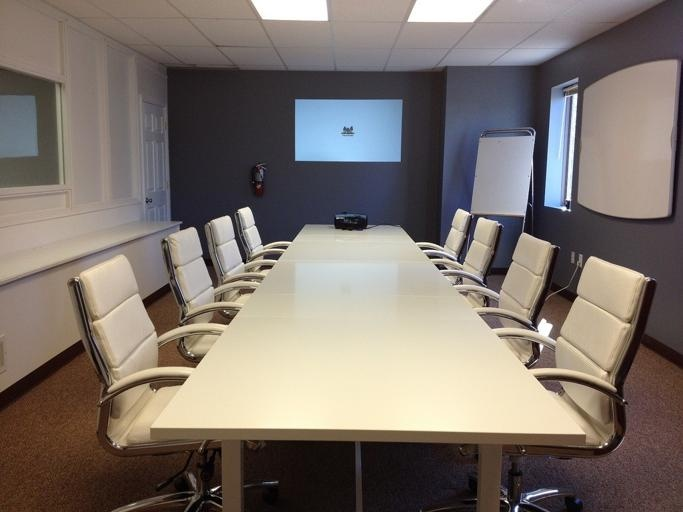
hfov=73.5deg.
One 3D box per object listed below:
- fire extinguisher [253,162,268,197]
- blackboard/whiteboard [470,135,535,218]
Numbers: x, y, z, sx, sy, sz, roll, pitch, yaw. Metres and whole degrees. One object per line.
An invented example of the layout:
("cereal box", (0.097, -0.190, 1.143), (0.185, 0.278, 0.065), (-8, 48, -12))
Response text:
("fire extinguisher", (-1.255, -1.169, 6.953), (0.225, 0.489, 0.113), (-1, 12, -15))
("blackboard/whiteboard", (2.254, -1.124, 6.613), (0.987, 1.637, 1.015), (3, 13, 17))
